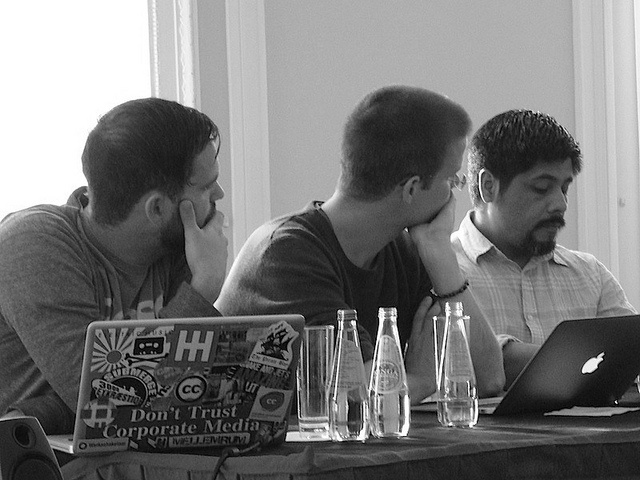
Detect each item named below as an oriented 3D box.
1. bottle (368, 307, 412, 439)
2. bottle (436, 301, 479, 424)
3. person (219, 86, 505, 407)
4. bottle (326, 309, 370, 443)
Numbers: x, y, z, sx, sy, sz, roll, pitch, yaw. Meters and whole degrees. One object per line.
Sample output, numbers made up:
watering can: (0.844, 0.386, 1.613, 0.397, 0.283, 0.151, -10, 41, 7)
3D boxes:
bottle: (0.153, 0.292, 2.083, 0.088, 0.301, 0.119, -1, -11, 3)
bottle: (0.320, 0.296, 2.196, 0.094, 0.293, 0.158, -2, -11, 7)
person: (0.199, 0.069, 2.883, 0.812, 1.095, 0.788, 3, 12, -7)
bottle: (0.059, 0.296, 2.037, 0.090, 0.289, 0.103, -2, -11, 9)
